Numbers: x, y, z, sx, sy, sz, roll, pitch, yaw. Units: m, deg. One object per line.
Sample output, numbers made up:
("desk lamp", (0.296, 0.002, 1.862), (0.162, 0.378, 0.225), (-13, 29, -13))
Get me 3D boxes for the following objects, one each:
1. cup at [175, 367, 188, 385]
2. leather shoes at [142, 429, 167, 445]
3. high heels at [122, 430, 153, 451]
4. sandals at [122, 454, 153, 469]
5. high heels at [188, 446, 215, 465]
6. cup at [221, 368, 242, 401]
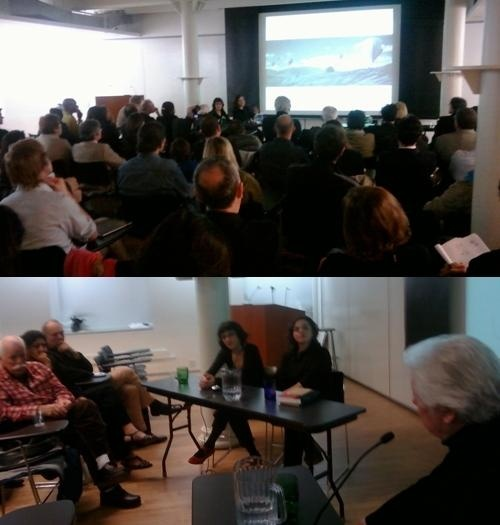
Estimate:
("cup", (-0.359, 0.606, 2.304), (0.082, 0.092, 0.057), (-2, 1, -15))
("leather shoes", (-0.488, 0.900, 2.213), (0.114, 0.054, 0.045), (1, -4, -11))
("high heels", (-0.574, 0.915, 2.225), (0.154, 0.075, 0.059), (-2, -5, 9))
("sandals", (-0.570, 1.009, 2.169), (0.121, 0.062, 0.068), (0, -1, 3))
("high heels", (-0.252, 0.988, 2.202), (0.058, 0.084, 0.159), (-3, -7, 44))
("cup", (-0.098, 0.637, 2.264), (0.129, 0.235, 0.130), (-1, -12, 0))
